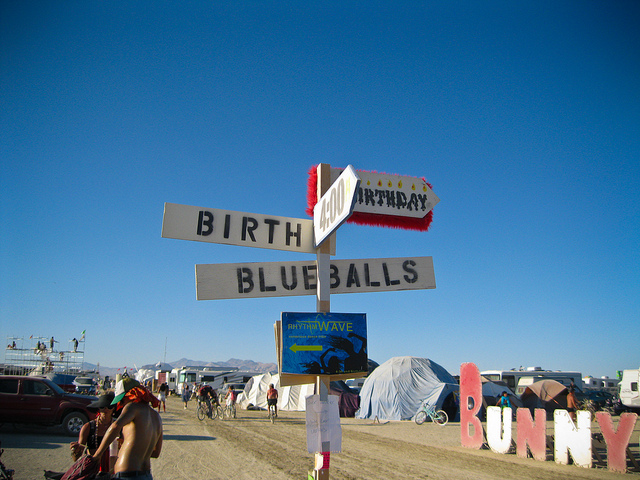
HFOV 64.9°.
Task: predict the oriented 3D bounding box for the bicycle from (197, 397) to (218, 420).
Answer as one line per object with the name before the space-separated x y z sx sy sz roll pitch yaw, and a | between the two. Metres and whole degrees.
bicycle | -4.985 7.453 22.291 0.786 1.021 1.561 4 -17 -24

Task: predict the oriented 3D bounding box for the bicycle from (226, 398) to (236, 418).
bicycle | -4.228 8.031 23.854 0.324 0.673 0.814 5 -14 -24

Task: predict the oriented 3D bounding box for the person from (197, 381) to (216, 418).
person | -4.919 7.008 21.857 0.734 1.360 0.866 6 -14 -27

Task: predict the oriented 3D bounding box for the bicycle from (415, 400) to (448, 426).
bicycle | 5.185 8.061 23.344 1.115 0.806 0.769 -1 -23 25

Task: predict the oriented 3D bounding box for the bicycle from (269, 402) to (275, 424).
bicycle | -2.047 7.364 21.505 0.218 0.826 0.361 2 -12 -7
